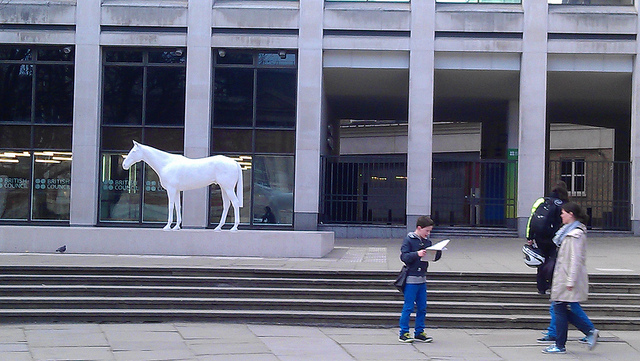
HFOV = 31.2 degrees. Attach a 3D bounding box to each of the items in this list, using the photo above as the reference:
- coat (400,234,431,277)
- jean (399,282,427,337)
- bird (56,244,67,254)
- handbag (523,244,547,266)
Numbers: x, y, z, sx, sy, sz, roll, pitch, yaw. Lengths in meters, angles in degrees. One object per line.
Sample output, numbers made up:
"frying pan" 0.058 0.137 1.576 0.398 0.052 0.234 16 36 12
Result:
"coat" 3.673 2.879 44.035 1.003 1.580 0.866 0 -1 -10
"jean" 3.689 4.900 44.272 0.903 2.489 0.628 3 -41 10
"bird" -11.187 2.939 49.536 0.425 0.317 0.375 0 0 12
"handbag" 8.579 2.984 45.859 1.037 0.784 0.712 1 -2 13
